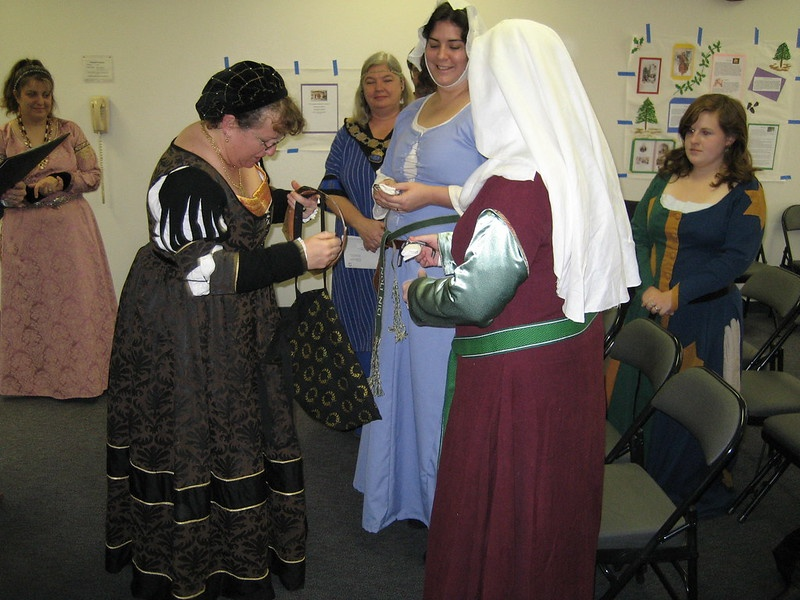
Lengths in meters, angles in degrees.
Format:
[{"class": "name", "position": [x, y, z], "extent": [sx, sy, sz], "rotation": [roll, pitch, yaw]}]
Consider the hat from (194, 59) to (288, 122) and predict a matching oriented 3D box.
[{"class": "hat", "position": [-0.577, -0.812, 2.561], "extent": [0.354, 0.133, 0.266], "rotation": [-19, 33, -31]}]

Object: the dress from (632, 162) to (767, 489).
[{"class": "dress", "position": [1.387, 0.152, 3.574], "extent": [0.487, 1.621, 0.592], "rotation": [-16, 26, -37]}]

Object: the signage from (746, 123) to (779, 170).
[{"class": "signage", "position": [2.817, -1.211, 5.463], "extent": [0.216, 0.308, 0.016], "rotation": [7, 12, 23]}]

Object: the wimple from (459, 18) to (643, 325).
[{"class": "wimple", "position": [0.474, -0.410, 2.221], "extent": [0.545, 0.912, 0.344], "rotation": [4, 21, 22]}]

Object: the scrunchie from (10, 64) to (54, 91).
[{"class": "scrunchie", "position": [-2.104, -1.277, 3.981], "extent": [0.145, 0.074, 0.181], "rotation": [1, 28, -1]}]

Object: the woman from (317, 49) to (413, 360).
[{"class": "woman", "position": [-0.139, -0.420, 3.697], "extent": [0.555, 1.579, 0.489], "rotation": [7, 24, 15]}]

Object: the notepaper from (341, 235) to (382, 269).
[{"class": "notepaper", "position": [-0.187, -0.243, 3.482], "extent": [0.191, 0.205, 0.025], "rotation": [2, 7, 9]}]

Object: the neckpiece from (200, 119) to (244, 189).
[{"class": "neckpiece", "position": [-0.646, -0.520, 2.552], "extent": [0.121, 0.240, 0.116], "rotation": [-9, 20, -14]}]
